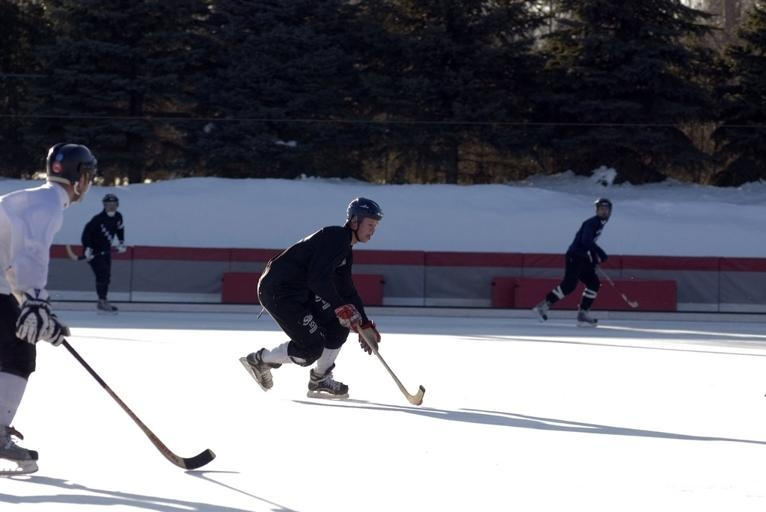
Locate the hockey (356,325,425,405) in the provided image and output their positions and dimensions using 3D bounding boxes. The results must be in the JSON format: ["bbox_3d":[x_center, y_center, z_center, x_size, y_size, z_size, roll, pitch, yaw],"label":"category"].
[{"bbox_3d":[0.095,2.020,22.547,0.504,1.723,0.469,-36,-2,4],"label":"hockey"}]

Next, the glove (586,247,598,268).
[{"bbox_3d":[4.906,0.035,27.947,0.212,0.408,0.306,5,4,38],"label":"glove"}]

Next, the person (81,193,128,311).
[{"bbox_3d":[-6.660,-0.091,28.736,1.060,2.793,1.130,1,-4,-3],"label":"person"}]

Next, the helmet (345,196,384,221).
[{"bbox_3d":[-0.359,-0.908,22.609,0.601,0.466,0.435,-6,7,-7],"label":"helmet"}]

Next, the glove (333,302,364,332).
[{"bbox_3d":[-0.633,1.143,22.564,0.412,0.501,0.255,-23,-6,1],"label":"glove"}]

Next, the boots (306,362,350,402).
[{"bbox_3d":[-1.061,2.460,22.728,1.072,0.672,0.396,2,0,-2],"label":"boots"}]

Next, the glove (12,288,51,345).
[{"bbox_3d":[-6.019,1.015,20.648,0.683,0.858,0.363,3,-3,-14],"label":"glove"}]
